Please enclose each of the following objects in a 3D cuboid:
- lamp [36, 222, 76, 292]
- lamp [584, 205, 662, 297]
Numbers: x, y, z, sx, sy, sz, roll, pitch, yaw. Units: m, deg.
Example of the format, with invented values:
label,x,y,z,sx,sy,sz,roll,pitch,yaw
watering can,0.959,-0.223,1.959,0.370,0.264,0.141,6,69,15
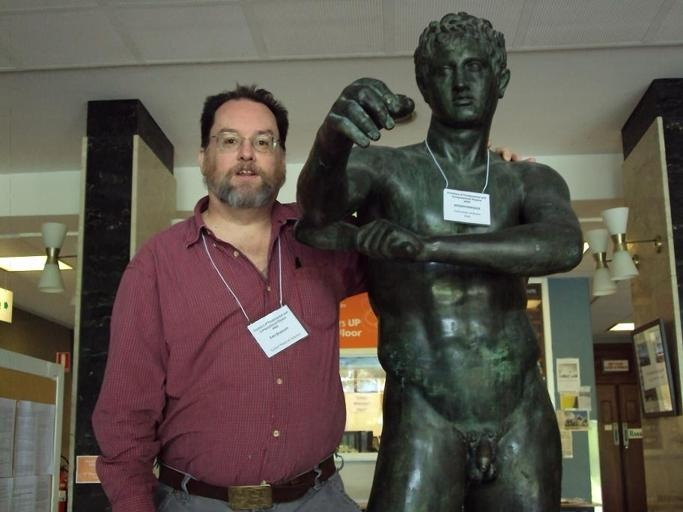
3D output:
label,x,y,z,sx,sy,sz,roll,pitch,yaw
lamp,-2.557,-0.052,5.584,0.211,0.697,0.576,3,-15,-25
lamp,2.228,-0.057,5.184,0.555,0.679,0.722,0,-4,0
